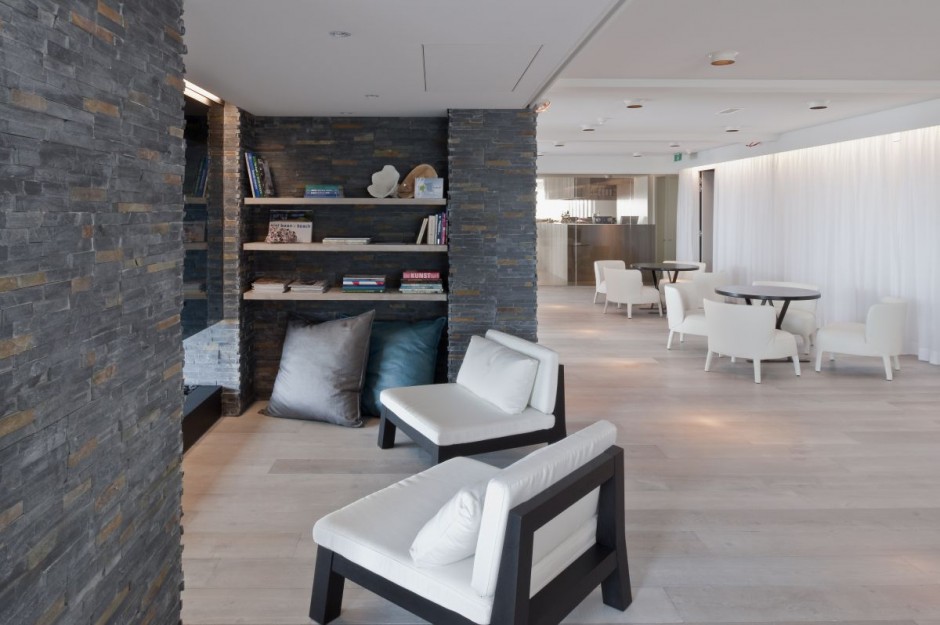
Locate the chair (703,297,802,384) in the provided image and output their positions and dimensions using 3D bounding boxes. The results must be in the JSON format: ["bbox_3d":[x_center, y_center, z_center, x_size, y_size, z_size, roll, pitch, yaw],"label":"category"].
[{"bbox_3d":[2.851,0.283,6.678,0.719,0.670,0.840,-2,8,-31],"label":"chair"}]

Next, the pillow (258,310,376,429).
[{"bbox_3d":[-1.190,0.434,5.222,1.030,0.804,0.555,2,19,30],"label":"pillow"}]

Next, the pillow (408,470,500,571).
[{"bbox_3d":[-0.088,0.920,2.766,0.316,0.322,0.512,5,-11,0],"label":"pillow"}]

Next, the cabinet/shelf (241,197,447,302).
[{"bbox_3d":[-1.015,-0.516,5.370,1.635,0.830,0.425,0,8,-4],"label":"cabinet/shelf"}]

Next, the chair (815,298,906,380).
[{"bbox_3d":[4.029,0.240,6.730,0.806,0.608,0.834,-5,5,-40],"label":"chair"}]

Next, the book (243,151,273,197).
[{"bbox_3d":[-1.720,-1.131,5.271,0.166,0.401,0.297,0,7,-3],"label":"book"}]

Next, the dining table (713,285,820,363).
[{"bbox_3d":[3.401,0.083,7.414,1.239,0.548,1.167,3,0,29],"label":"dining table"}]

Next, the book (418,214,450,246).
[{"bbox_3d":[-0.339,-0.662,5.398,0.294,0.311,0.354,3,6,-6],"label":"book"}]

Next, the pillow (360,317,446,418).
[{"bbox_3d":[-0.538,0.443,4.998,0.923,0.876,0.406,-1,-17,4],"label":"pillow"}]

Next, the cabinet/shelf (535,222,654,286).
[{"bbox_3d":[2.681,-1.249,13.822,2.059,1.011,1.862,0,2,-3],"label":"cabinet/shelf"}]

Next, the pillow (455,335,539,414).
[{"bbox_3d":[0.193,0.417,4.473,0.289,0.359,0.752,-5,14,-31],"label":"pillow"}]

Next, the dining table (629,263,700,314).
[{"bbox_3d":[3.324,-0.317,10.962,1.248,0.734,1.140,1,6,19],"label":"dining table"}]

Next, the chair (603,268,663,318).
[{"bbox_3d":[2.668,-0.359,10.224,0.969,0.629,0.906,-4,8,-27],"label":"chair"}]
